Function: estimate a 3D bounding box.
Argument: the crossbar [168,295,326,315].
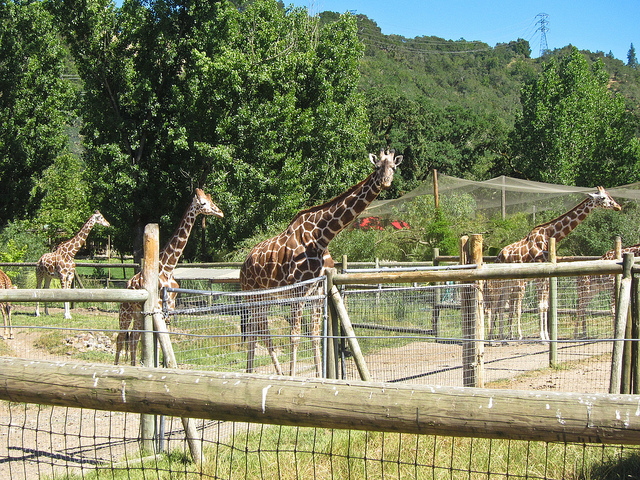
[{"bbox_3d":[-2.150,1.860,32.151,4.480,0.512,0.741,-1,0,-8],"label":"crossbar"}]

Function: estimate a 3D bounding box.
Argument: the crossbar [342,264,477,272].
[{"bbox_3d":[2.966,0.873,35.186,3.720,0.170,0.160,-3,8,-13],"label":"crossbar"}]

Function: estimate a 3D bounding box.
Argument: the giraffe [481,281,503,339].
[{"bbox_3d":[5.800,2.290,37.056,0.626,1.845,2.115,-1,0,9],"label":"giraffe"}]

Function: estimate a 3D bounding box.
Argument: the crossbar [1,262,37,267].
[{"bbox_3d":[-11.957,0.953,43.822,1.449,0.179,0.174,1,5,-6],"label":"crossbar"}]

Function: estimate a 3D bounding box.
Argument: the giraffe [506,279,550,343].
[{"bbox_3d":[7.072,2.260,37.747,1.597,2.262,1.488,-3,2,-16],"label":"giraffe"}]
